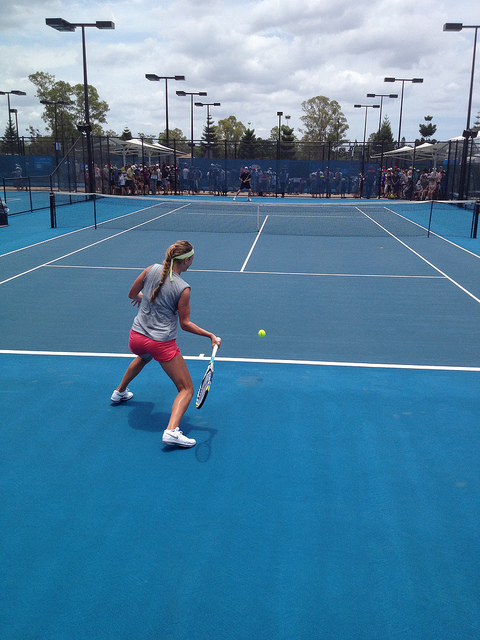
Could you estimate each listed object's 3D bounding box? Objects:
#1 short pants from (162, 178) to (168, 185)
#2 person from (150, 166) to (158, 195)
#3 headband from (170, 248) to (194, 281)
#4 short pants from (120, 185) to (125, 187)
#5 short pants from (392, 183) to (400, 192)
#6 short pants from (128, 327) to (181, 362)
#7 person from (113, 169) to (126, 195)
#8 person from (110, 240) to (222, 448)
[{"bbox_3d":[-5.066,-9.433,31.650,0.277,0.546,0.406,-8,35,-14],"label":"short pants"},{"bbox_3d":[-5.759,-9.417,31.520,0.392,1.700,0.922,-3,12,-15],"label":"person"},{"bbox_3d":[-0.440,-0.447,3.734,0.206,0.229,0.057,18,8,38],"label":"headband"},{"bbox_3d":[-7.524,-8.603,29.954,0.278,0.141,0.712,-3,12,-15],"label":"short pants"},{"bbox_3d":[11.237,-9.564,33.709,0.374,0.624,1.135,5,13,25],"label":"short pants"},{"bbox_3d":[-0.717,0.202,3.860,0.438,0.262,0.193,8,14,34],"label":"short pants"},{"bbox_3d":[-7.791,-9.010,30.438,0.696,1.524,2.127,-5,13,-24],"label":"person"},{"bbox_3d":[-0.646,0.131,4.044,0.803,1.620,1.146,-5,12,-22],"label":"person"}]
